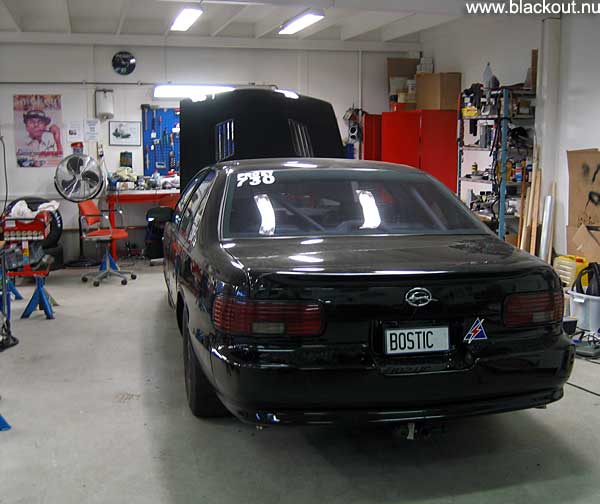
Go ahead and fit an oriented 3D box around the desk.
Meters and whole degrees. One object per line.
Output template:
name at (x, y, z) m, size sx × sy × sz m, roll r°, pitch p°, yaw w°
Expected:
desk at (-2.631, -0.631, 8.084) m, size 1.331 × 1.378 × 1.041 m, roll -2°, pitch 5°, yaw -15°
